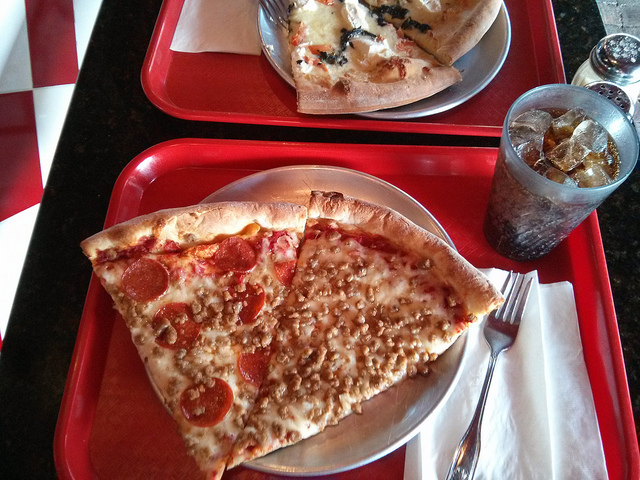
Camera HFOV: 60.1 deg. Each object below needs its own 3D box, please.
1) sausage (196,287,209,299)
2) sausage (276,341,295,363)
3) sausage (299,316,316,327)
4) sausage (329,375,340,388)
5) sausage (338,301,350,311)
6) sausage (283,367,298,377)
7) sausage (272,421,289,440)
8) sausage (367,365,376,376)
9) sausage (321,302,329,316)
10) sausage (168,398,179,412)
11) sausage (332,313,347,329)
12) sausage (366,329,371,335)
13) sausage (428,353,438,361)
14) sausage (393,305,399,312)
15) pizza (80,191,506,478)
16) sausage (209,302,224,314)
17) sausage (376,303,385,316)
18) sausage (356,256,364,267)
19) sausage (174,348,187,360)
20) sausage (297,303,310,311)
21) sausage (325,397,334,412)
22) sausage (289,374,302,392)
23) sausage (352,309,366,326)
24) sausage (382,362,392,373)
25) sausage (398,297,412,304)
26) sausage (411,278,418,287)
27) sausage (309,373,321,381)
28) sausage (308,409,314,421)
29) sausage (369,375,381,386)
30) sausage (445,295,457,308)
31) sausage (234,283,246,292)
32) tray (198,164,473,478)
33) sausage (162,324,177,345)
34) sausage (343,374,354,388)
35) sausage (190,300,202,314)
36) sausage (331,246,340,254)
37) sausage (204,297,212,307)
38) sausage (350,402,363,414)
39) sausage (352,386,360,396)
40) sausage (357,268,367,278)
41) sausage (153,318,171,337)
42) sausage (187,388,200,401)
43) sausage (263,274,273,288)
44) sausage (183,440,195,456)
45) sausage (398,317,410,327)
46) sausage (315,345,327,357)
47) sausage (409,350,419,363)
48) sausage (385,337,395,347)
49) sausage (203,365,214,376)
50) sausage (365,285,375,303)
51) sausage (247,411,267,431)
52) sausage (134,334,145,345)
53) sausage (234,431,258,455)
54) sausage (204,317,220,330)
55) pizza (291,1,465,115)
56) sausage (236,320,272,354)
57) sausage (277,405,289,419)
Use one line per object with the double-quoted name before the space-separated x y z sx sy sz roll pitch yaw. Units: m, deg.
"sausage" -0.457 0.203 2.117 0.033 0.010 0.040 -11 81 -7
"sausage" -0.133 0.419 2.064 0.079 0.029 0.100 5 69 -5
"sausage" -0.053 0.308 2.087 0.033 0.009 0.039 24 80 -13
"sausage" 0.050 0.518 2.028 0.026 0.010 0.040 23 70 10
"sausage" 0.087 0.249 2.098 0.026 0.008 0.032 -3 66 -5
"sausage" -0.114 0.488 2.045 0.063 0.017 0.048 -3 79 8
"sausage" -0.148 0.681 1.981 0.040 0.015 0.059 -26 76 -5
"sausage" 0.190 0.479 2.031 0.023 0.008 0.035 -20 80 -13
"sausage" 0.014 0.259 2.102 0.023 0.014 0.040 -3 73 -4
"sausage" -0.539 0.599 2.019 0.038 0.008 0.042 -32 83 -4
"sausage" 0.075 0.306 2.088 0.044 0.013 0.047 37 75 9
"sausage" 0.177 0.345 2.076 0.018 0.004 0.019 -31 89 -12
"sausage" 0.415 0.433 2.057 0.020 0.012 0.031 -4 64 5
"sausage" 0.284 0.257 2.093 0.017 0.005 0.019 21 71 6
"pizza" -0.135 0.188 2.577 1.415 1.033 1.810 0 43 -2
"sausage" -0.395 0.255 2.100 0.035 0.013 0.043 -12 66 -11
"sausage" 0.225 0.262 2.099 0.030 0.009 0.035 19 69 11
"sausage" 0.151 0.082 2.148 0.023 0.009 0.036 -1 62 -10
"sausage" -0.523 0.423 2.052 0.027 0.011 0.043 15 75 14
"sausage" -0.064 0.251 2.100 0.022 0.010 0.039 43 84 8
"sausage" 0.032 0.600 2.006 0.030 0.005 0.053 18 82 2
"sausage" -0.093 0.522 2.024 0.030 0.012 0.052 3 72 8
"sausage" 0.143 0.295 2.086 0.038 0.012 0.045 6 70 8
"sausage" 0.243 0.472 2.044 0.023 0.008 0.032 33 74 20
"sausage" 0.318 0.228 2.099 0.035 0.009 0.026 12 72 9
"sausage" 0.357 0.163 2.121 0.015 0.006 0.025 6 74 0
"sausage" -0.021 0.502 2.032 0.024 0.008 0.027 -23 67 -14
"sausage" -0.036 0.631 1.999 0.021 0.005 0.039 20 83 3
"sausage" 0.197 0.517 2.032 0.039 0.007 0.036 4 82 0
"sausage" 0.492 0.232 2.098 0.034 0.009 0.041 2 67 -4
"sausage" -0.311 0.183 2.117 0.050 0.015 0.049 7 80 0
"tray" 0.108 0.251 2.136 0.907 0.242 1.190 -11 82 -2
"sausage" -0.565 0.354 2.069 0.055 0.024 0.064 33 83 4
"sausage" 0.099 0.516 2.025 0.027 0.011 0.043 -8 79 -11
"sausage" -0.476 0.254 2.097 0.032 0.013 0.049 -6 73 0
"sausage" 0.062 0.038 2.174 0.020 0.006 0.024 -13 55 -8
"sausage" -0.435 0.234 2.100 0.027 0.009 0.032 -14 77 1
"sausage" 0.129 0.609 2.015 0.035 0.011 0.042 18 79 -2
"sausage" 0.129 0.548 2.015 0.020 0.008 0.030 -18 76 -18
"sausage" 0.157 0.125 2.128 0.032 0.009 0.028 -21 85 -6
"sausage" -0.600 0.328 2.071 0.039 0.027 0.072 35 80 27
"sausage" -0.464 0.559 2.008 0.030 0.013 0.038 3 82 2
"sausage" -0.207 0.155 2.133 0.027 0.010 0.043 -2 79 -7
"sausage" -0.470 0.747 1.978 0.034 0.015 0.052 -6 92 11
"sausage" 0.308 0.306 2.074 0.028 0.011 0.034 5 63 -3
"sausage" 0.000 0.413 2.048 0.027 0.010 0.043 2 96 6
"sausage" 0.349 0.428 2.050 0.026 0.010 0.039 -8 100 -5
"sausage" 0.261 0.380 2.065 0.021 0.012 0.033 -17 84 -9
"sausage" -0.412 0.477 2.034 0.030 0.009 0.034 -20 93 0
"sausage" 0.184 0.205 2.102 0.029 0.013 0.058 1 71 1
"sausage" -0.238 0.653 1.999 0.048 0.016 0.057 -32 82 0
"sausage" -0.683 0.373 2.077 0.029 0.007 0.033 24 75 0
"sausage" -0.270 0.724 1.979 0.083 0.031 0.070 -9 82 -1
"sausage" -0.409 0.319 2.081 0.036 0.012 0.043 -6 68 -1
"pizza" 0.170 -0.877 2.697 0.531 0.098 0.870 -4 56 1
"sausage" -0.251 0.349 2.037 0.107 0.020 0.101 -25 71 -14
"sausage" -0.139 0.621 1.989 0.032 0.009 0.037 -24 79 -9
